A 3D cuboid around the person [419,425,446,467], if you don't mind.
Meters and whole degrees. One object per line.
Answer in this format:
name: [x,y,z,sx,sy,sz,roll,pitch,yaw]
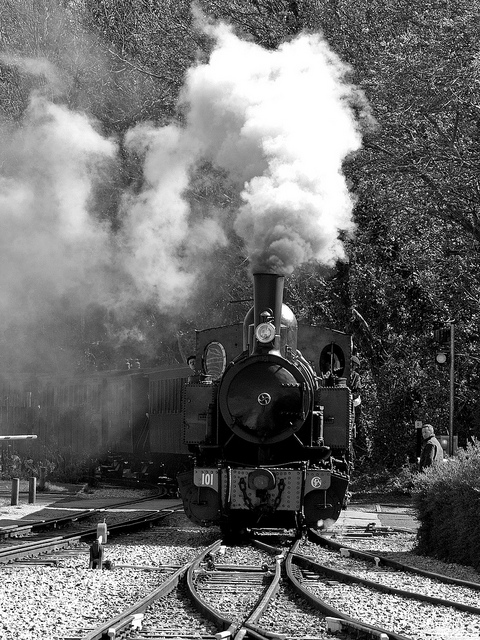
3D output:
person: [2.640,1.740,10.100,0.326,0.834,0.706,0,-6,10]
